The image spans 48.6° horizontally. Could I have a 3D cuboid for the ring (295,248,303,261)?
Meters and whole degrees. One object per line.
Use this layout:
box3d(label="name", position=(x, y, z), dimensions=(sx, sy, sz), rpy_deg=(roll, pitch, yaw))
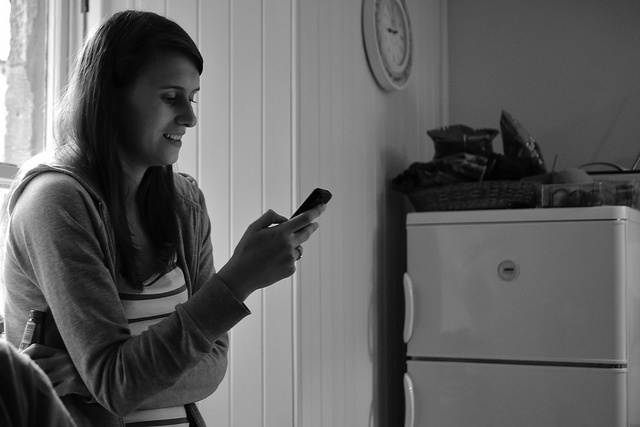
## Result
box3d(label="ring", position=(-0.051, 0.105, 1.763), dimensions=(0.023, 0.034, 0.012), rpy_deg=(3, 6, 22))
